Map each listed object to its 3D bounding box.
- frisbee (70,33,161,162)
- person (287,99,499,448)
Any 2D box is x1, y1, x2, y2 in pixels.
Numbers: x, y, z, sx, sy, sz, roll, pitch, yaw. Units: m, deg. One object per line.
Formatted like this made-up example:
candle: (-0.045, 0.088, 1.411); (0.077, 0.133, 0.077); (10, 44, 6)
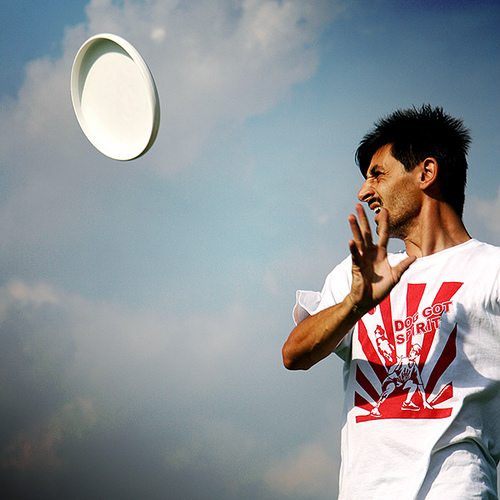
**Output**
frisbee: (-0.573, -0.628, 3.342); (0.491, 0.438, 0.273); (0, -11, 39)
person: (0.503, 0.051, 2.747); (0.652, 1.272, 0.567); (6, -9, 3)
